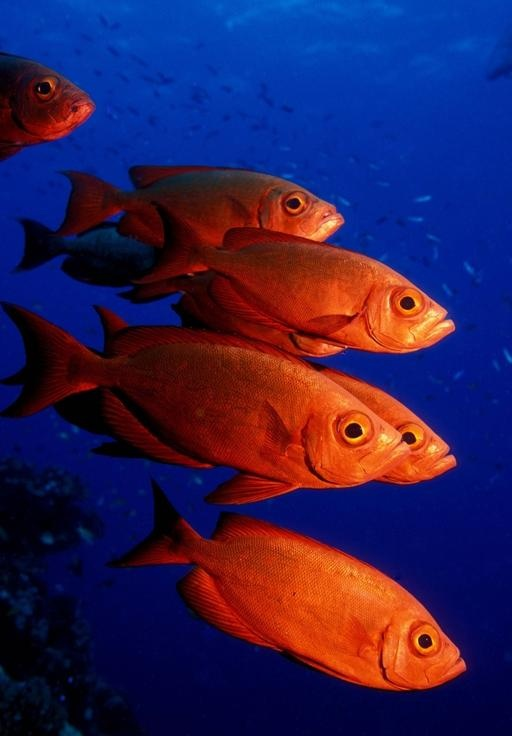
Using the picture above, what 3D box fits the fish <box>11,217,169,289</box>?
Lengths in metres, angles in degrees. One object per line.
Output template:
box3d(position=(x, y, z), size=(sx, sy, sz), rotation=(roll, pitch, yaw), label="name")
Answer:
box3d(position=(-0.949, -0.697, 4.549), size=(0.965, 0.374, 0.182), rotation=(0, 15, -32), label="fish")
